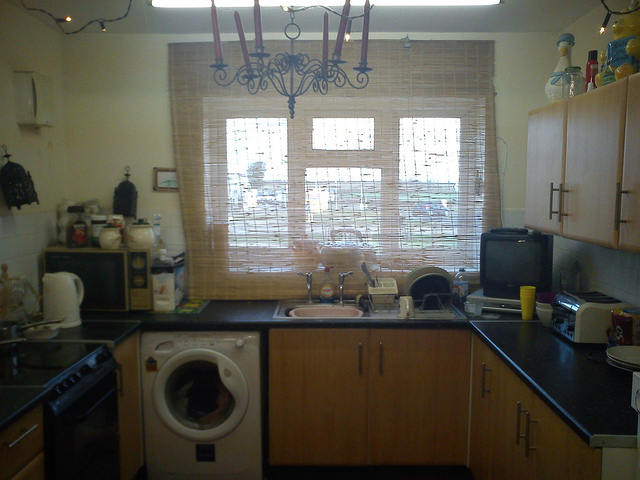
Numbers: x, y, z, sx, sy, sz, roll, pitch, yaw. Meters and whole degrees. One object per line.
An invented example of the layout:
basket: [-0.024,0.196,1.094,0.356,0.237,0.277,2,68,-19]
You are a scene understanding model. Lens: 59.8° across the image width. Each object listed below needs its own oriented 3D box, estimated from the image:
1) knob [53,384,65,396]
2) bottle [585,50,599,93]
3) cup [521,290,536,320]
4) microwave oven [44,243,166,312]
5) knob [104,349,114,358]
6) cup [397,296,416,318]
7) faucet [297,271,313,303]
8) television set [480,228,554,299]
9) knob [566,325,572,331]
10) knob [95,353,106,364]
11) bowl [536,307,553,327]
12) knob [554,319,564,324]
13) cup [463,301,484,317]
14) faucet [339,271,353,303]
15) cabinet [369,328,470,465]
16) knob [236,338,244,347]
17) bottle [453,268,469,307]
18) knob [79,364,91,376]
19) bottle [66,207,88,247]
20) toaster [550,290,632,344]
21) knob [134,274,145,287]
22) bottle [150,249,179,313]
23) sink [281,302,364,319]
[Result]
knob: [-1.291,0.735,2.748,0.040,0.011,0.043,48,19,25]
bottle: [1.449,-0.897,2.967,0.054,0.205,0.184,6,15,23]
cup: [1.308,0.406,3.521,0.083,0.188,0.051,4,14,16]
microwave oven: [-1.480,0.281,3.918,0.730,0.425,0.498,0,-2,4]
knob: [-1.191,0.636,3.138,0.040,0.036,0.068,10,5,-8]
cup: [0.570,0.420,3.660,0.116,0.119,0.207,2,14,9]
faucet: [-0.103,0.328,3.944,0.108,0.202,0.145,-2,14,-5]
television set: [1.354,0.139,3.837,0.468,0.495,0.310,5,17,37]
knob: [1.394,0.491,3.122,0.026,0.025,0.026,-12,30,23]
knob: [-1.212,0.650,3.068,0.028,0.043,0.050,-22,13,18]
bowl: [1.361,0.473,3.395,0.099,0.077,0.098,0,-1,0]
knob: [1.382,0.468,3.223,0.026,0.032,0.048,-3,6,-11]
cup: [1.003,0.440,3.633,0.099,0.069,0.098,-1,8,0]
faucet: [0.170,0.326,3.927,0.076,0.200,0.159,9,17,33]
cabinet: [0.630,0.979,3.782,0.664,0.908,0.511,1,4,5]
knob: [-0.499,0.640,3.477,0.039,0.038,0.034,-1,14,-3]
bottle: [0.979,0.317,3.870,0.112,0.242,0.213,3,14,14]
knob: [-1.241,0.683,2.943,0.011,0.045,0.048,-13,-20,33]
bottle: [-1.662,-0.085,3.777,0.135,0.262,0.119,-6,15,-20]
toaster: [1.517,0.444,3.201,0.273,0.226,0.346,6,6,-2]
knob: [-1.199,0.268,3.663,0.070,0.069,0.023,9,3,-2]
bottle: [-1.050,0.263,3.773,0.174,0.391,0.237,-2,14,-6]
sink: [0.020,0.502,3.837,0.557,0.082,0.216,0,14,1]
